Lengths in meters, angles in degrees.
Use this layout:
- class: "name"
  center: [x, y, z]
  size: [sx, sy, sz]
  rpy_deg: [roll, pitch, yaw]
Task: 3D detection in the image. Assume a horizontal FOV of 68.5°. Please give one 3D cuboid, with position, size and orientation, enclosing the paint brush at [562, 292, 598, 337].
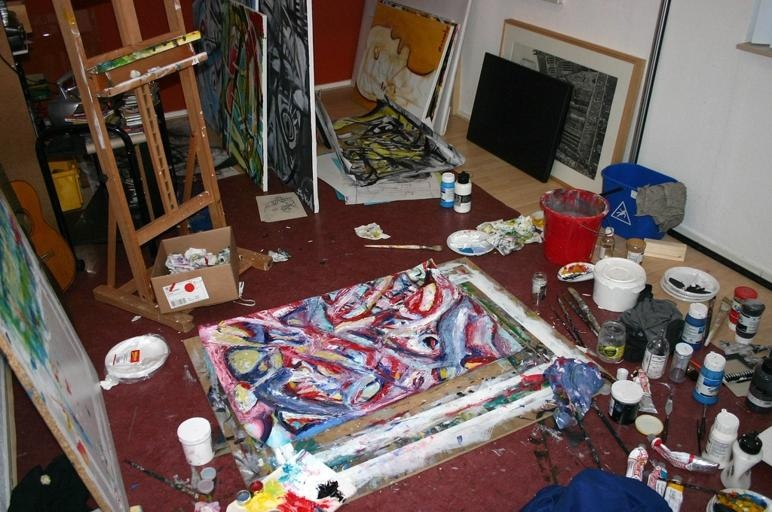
- class: "paint brush"
  center: [1.220, 0.356, 3.521]
  size: [0.086, 0.021, 0.330]
  rpy_deg: [-30, 33, 16]

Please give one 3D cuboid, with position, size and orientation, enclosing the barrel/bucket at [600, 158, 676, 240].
- class: "barrel/bucket"
  center: [1.815, -0.390, 4.056]
  size: [0.292, 0.325, 0.448]
  rpy_deg: [-16, 34, -23]

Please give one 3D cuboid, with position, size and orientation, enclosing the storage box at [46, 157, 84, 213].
- class: "storage box"
  center: [-2.168, -0.477, 3.887]
  size: [0.227, 0.323, 0.094]
  rpy_deg: [-11, 19, -30]

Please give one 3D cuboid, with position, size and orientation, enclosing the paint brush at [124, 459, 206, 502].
- class: "paint brush"
  center: [-1.068, 1.104, 2.768]
  size: [0.315, 0.045, 0.049]
  rpy_deg: [21, 76, 8]

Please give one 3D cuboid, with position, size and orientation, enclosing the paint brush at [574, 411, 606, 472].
- class: "paint brush"
  center: [1.026, 0.938, 2.883]
  size: [0.049, 0.037, 0.311]
  rpy_deg: [-13, 39, -3]

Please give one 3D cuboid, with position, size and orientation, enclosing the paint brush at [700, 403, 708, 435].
- class: "paint brush"
  center: [1.658, 0.850, 2.961]
  size: [0.040, 0.023, 0.193]
  rpy_deg: [-3, 35, 26]

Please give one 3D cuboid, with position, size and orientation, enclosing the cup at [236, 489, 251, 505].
- class: "cup"
  center: [-0.649, 1.104, 2.607]
  size: [0.051, 0.032, 0.053]
  rpy_deg: [-1, 48, 1]

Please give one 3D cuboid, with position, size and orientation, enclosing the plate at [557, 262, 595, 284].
- class: "plate"
  center: [1.255, 0.107, 3.748]
  size: [0.177, 0.044, 0.140]
  rpy_deg: [-10, 47, -4]

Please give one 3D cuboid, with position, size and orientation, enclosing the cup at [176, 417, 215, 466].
- class: "cup"
  center: [-0.942, 0.922, 2.844]
  size: [0.155, 0.196, 0.178]
  rpy_deg: [-9, 31, -19]

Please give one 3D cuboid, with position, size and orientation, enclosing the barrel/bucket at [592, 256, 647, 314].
- class: "barrel/bucket"
  center: [1.437, 0.188, 3.633]
  size: [0.312, 0.235, 0.313]
  rpy_deg: [-3, 46, 3]

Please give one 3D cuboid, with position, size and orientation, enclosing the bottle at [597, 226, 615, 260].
- class: "bottle"
  center: [1.524, -0.082, 3.910]
  size: [0.093, 0.234, 0.094]
  rpy_deg: [-4, 33, 3]

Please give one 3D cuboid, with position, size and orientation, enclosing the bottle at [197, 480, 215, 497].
- class: "bottle"
  center: [-0.868, 1.116, 2.737]
  size: [0.060, 0.026, 0.062]
  rpy_deg: [1, 47, -2]

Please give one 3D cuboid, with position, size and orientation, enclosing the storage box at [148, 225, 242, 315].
- class: "storage box"
  center: [-1.161, 0.132, 3.642]
  size: [0.528, 0.339, 0.540]
  rpy_deg: [-10, 61, -5]

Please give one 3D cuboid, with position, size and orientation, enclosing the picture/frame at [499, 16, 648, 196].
- class: "picture/frame"
  center: [1.505, -1.166, 4.438]
  size: [0.083, 1.073, 1.248]
  rpy_deg: [-18, 42, -37]

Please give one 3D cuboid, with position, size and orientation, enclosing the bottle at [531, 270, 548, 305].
- class: "bottle"
  center: [0.984, 0.200, 3.639]
  size: [0.096, 0.170, 0.101]
  rpy_deg: [-2, 33, 1]

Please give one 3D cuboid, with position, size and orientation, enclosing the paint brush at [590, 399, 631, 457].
- class: "paint brush"
  center: [1.147, 0.881, 2.988]
  size: [0.055, 0.052, 0.391]
  rpy_deg: [-35, 54, 8]

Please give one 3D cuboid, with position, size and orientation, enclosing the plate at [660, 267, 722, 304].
- class: "plate"
  center: [1.974, 0.183, 3.680]
  size: [0.249, 0.058, 0.251]
  rpy_deg: [-24, 39, -23]

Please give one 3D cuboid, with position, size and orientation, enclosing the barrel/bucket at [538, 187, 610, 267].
- class: "barrel/bucket"
  center: [1.219, -0.204, 3.970]
  size: [0.508, 0.467, 0.529]
  rpy_deg: [-2, 39, 2]
